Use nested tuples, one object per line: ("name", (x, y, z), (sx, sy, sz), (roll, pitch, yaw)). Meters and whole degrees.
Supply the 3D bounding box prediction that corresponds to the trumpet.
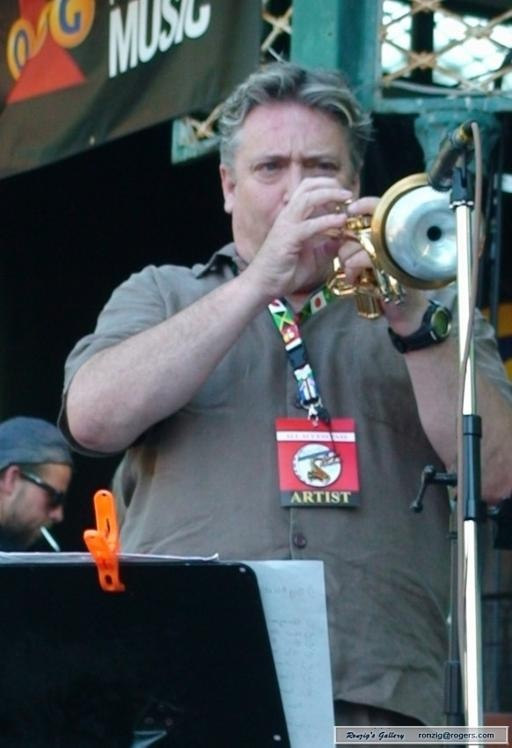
("trumpet", (0.306, -0.269, 2.734), (0.187, 0.157, 0.332), (-26, 0, -17))
